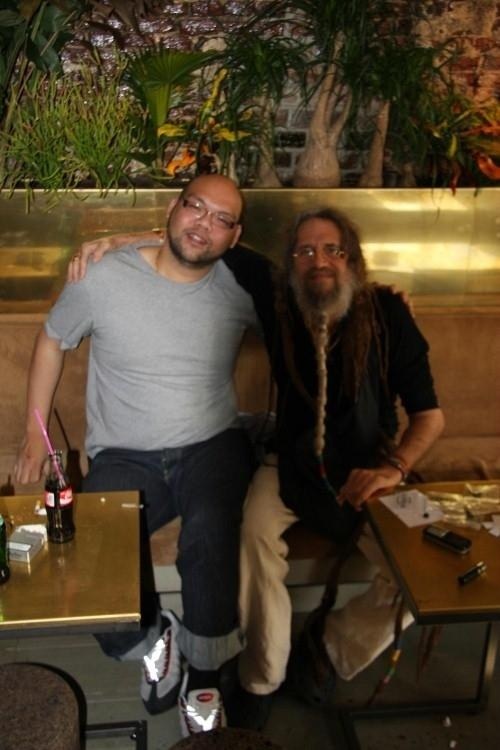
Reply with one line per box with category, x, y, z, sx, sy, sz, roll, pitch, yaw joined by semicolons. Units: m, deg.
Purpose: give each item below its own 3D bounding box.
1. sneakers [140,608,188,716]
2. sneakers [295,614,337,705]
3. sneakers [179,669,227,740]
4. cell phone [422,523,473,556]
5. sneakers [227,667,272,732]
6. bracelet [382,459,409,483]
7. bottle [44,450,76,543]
sneakers;-0.194;0.653;1.381;0.079;0.212;0.084;0;-24;-4
sneakers;0.151;0.648;1.395;0.103;0.185;0.047;-14;-21;40
sneakers;-0.097;0.662;1.313;0.101;0.112;0.286;-2;0;-4
cell phone;0.362;0.305;1.119;0.038;0.015;0.064;-16;21;-39
sneakers;-0.007;0.719;1.357;0.109;0.094;0.141;3;22;5
bracelet;0.330;0.210;1.367;0.048;0.024;0.056;-10;61;-47
bottle;-0.339;0.219;1.077;0.052;0.164;0.049;-1;8;0
